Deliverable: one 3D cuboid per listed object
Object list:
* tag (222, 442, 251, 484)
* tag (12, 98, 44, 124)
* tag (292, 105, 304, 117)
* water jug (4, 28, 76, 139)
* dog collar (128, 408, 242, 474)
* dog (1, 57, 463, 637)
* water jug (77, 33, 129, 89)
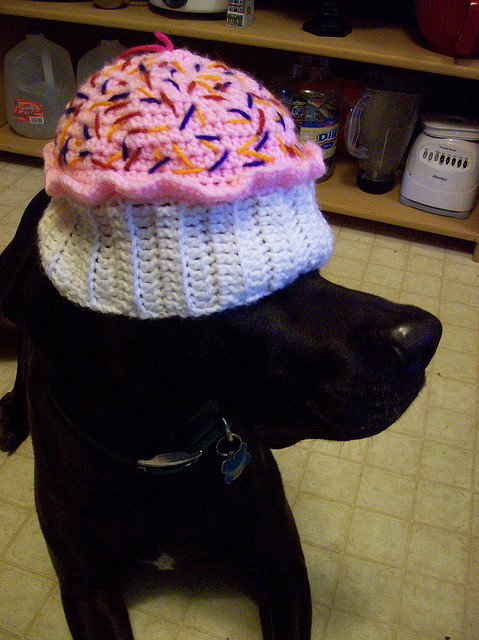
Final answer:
[{"bbox_3d":[-0.005,0.165,0.690,0.007,0.045,0.059,21,42,34],"label":"tag"},{"bbox_3d":[-0.645,-0.644,1.830,0.072,0.051,0.010,12,32,5],"label":"tag"},{"bbox_3d":[0.158,-0.567,1.624,0.034,0.008,0.031,1,79,37],"label":"tag"},{"bbox_3d":[-0.620,-0.720,1.838,0.222,0.303,0.158,-8,45,-11],"label":"water jug"},{"bbox_3d":[-0.052,0.134,0.632,0.112,0.028,0.065,-26,2,7],"label":"dog collar"},{"bbox_3d":[-0.051,-0.080,0.968,0.388,0.550,0.956,-11,23,-25],"label":"dog"},{"bbox_3d":[-0.417,-0.772,1.785,0.154,0.154,0.138,-6,44,-9],"label":"water jug"}]
